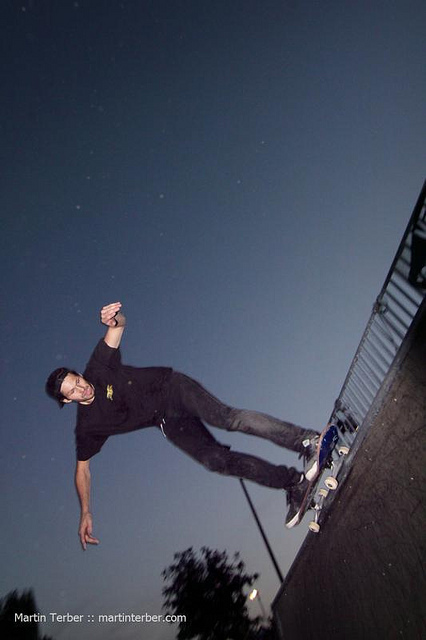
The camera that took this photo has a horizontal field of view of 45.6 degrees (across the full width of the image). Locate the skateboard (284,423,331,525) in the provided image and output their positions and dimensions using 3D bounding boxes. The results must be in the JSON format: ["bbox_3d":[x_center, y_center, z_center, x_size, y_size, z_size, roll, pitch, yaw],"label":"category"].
[{"bbox_3d":[0.509,0.939,3.080,0.192,0.121,0.717,18,-81,-61],"label":"skateboard"}]

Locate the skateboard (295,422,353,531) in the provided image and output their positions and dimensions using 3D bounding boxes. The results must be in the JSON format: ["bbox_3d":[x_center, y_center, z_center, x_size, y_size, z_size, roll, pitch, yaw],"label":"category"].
[{"bbox_3d":[0.642,1.124,3.166,0.180,0.311,1.089,15,-48,1],"label":"skateboard"}]

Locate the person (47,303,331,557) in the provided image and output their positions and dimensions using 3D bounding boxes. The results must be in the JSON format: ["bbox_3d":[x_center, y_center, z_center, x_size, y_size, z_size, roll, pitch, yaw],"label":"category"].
[{"bbox_3d":[-0.207,0.821,3.525,1.603,0.726,1.461,1,-76,4],"label":"person"}]

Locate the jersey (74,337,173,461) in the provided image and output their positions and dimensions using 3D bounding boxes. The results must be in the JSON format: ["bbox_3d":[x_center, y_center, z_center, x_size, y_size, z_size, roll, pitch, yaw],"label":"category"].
[{"bbox_3d":[-0.700,0.609,3.794,0.619,0.526,0.729,9,-56,-28],"label":"jersey"}]
